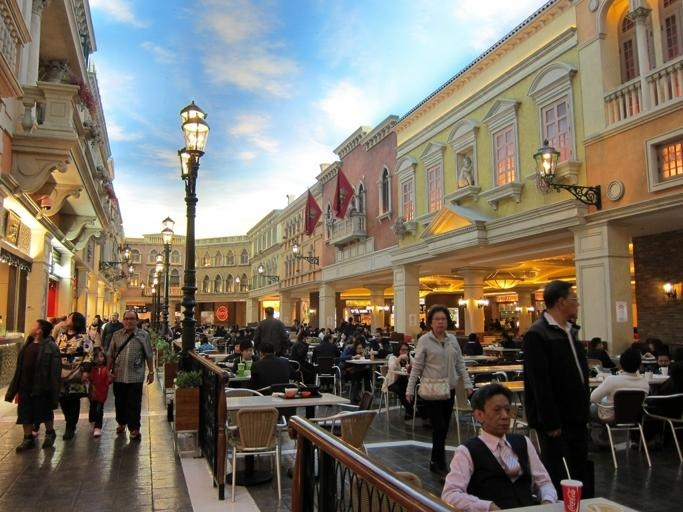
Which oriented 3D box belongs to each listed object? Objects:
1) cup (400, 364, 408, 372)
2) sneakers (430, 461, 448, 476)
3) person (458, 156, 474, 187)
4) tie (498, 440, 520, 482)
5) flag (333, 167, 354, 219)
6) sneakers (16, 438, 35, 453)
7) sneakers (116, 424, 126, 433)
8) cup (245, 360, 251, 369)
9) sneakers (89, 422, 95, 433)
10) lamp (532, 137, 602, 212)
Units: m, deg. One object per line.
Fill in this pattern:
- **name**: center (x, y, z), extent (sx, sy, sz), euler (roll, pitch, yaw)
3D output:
- **cup**: center (1.286, 2.301, 10.466), extent (0.250, 0.145, 0.359), euler (0, -6, 3)
- **sneakers**: center (1.409, 3.041, 7.309), extent (0.249, 0.181, 0.332), euler (0, -2, 3)
- **person**: center (4.644, -3.185, 18.981), extent (0.329, 1.238, 0.963), euler (0, -2, -5)
- **tie**: center (1.464, 1.768, 4.421), extent (0.155, 0.285, 0.113), euler (3, -36, -28)
- **flag**: center (0.137, -3.524, 28.420), extent (1.000, 2.655, 2.747), euler (0, -2, 1)
- **sneakers**: center (-5.212, 3.109, 8.424), extent (0.288, 0.271, 0.135), euler (14, -16, -18)
- **sneakers**: center (-4.050, 3.169, 9.332), extent (0.092, 0.117, 0.275), euler (3, -14, -15)
- **cup**: center (-1.885, 2.197, 10.329), extent (0.163, 0.177, 0.165), euler (0, -8, 0)
- **sneakers**: center (-4.811, 3.279, 9.798), extent (0.110, 0.181, 0.185), euler (6, -37, -12)
- **lamp**: center (6.369, -2.245, 14.159), extent (2.199, 2.502, 0.843), euler (3, -4, -21)
